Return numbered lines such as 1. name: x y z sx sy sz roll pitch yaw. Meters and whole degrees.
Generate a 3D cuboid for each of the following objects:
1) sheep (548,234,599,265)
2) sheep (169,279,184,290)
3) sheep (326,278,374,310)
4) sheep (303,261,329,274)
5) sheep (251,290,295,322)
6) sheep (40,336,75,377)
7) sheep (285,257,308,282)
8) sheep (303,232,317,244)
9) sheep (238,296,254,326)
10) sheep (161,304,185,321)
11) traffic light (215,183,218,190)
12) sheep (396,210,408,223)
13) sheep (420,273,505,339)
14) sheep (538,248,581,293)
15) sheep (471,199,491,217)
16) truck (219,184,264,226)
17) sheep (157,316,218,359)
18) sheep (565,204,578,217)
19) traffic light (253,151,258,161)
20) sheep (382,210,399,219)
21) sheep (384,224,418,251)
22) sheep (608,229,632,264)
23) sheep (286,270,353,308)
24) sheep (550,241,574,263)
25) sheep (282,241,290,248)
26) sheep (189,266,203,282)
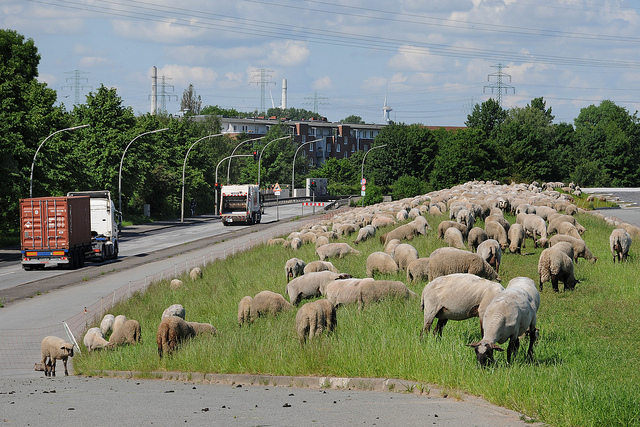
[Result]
1. sheep: 14.170 2.104 51.703 2.809 1.661 0.834 17 15 20
2. sheep: -8.359 4.195 54.521 0.531 0.452 0.571 0 4 43
3. sheep: 1.602 3.817 45.483 2.149 1.627 1.148 -10 -1 7
4. sheep: -0.149 2.959 49.728 1.455 0.860 0.512 -11 27 -21
5. sheep: -2.267 4.605 46.129 2.636 1.705 0.837 7 23 24
6. sheep: -12.425 6.786 44.073 1.514 1.605 1.237 -4 14 -3
7. sheep: -1.351 3.158 51.885 1.069 1.309 0.678 -9 15 -22
8. sheep: -0.546 1.706 64.213 1.106 0.624 1.038 2 15 21
9. sheep: -3.563 4.756 45.427 0.788 1.301 0.627 -4 13 -5
10. sheep: -7.186 4.853 46.156 0.739 0.825 0.804 6 2 34
11. traffic light: -11.865 -3.218 108.219 0.567 0.669 1.109 8 -8 -6
12. sheep: 6.063 0.150 67.575 0.625 0.836 1.631 0 15 15
13. sheep: 6.710 4.276 41.463 4.353 3.392 1.990 1 11 16
14. sheep: 11.986 2.835 46.690 1.825 2.124 0.764 -8 14 -18
15. sheep: 11.253 -0.559 65.397 0.585 1.150 2.000 -5 16 -43
16. truck: -7.799 -0.942 95.898 3.554 4.147 6.795 -1 4 9
17. sheep: -6.205 5.544 44.104 3.352 1.964 1.069 0 -1 -39
18. sheep: 18.268 -0.252 67.000 0.679 1.179 1.634 3 14 10
19. traffic light: -10.812 -10.102 160.658 0.989 2.076 0.807 -2 6 -1
20. sheep: 5.478 -0.017 69.362 1.365 0.848 0.516 0 30 -43
21. sheep: 4.809 1.497 58.084 1.963 1.187 0.628 -9 24 24
22. sheep: 16.796 1.757 51.650 1.008 1.809 1.347 0 14 15
23. sheep: 0.022 3.934 47.581 3.316 2.115 1.092 -7 8 -7
24. sheep: 13.065 1.881 49.968 0.738 1.291 1.854 3 22 27
25. sheep: -2.173 2.170 64.072 0.218 0.542 0.343 3 -7 12
26. sheep: -7.489 3.775 57.181 0.590 0.821 0.509 2 -35 -5
